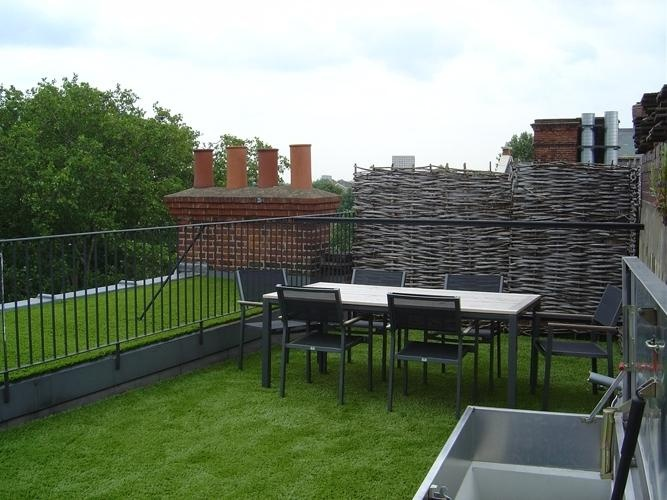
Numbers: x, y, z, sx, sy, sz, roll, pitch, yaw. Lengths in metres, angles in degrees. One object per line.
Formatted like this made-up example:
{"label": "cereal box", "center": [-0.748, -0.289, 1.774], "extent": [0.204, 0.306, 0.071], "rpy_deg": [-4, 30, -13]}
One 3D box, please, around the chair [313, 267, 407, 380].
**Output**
{"label": "chair", "center": [0.369, 0.752, 6.738], "extent": [0.667, 1.020, 0.684], "rpy_deg": [3, 7, 14]}

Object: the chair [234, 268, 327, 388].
{"label": "chair", "center": [-0.529, 0.724, 7.001], "extent": [0.929, 1.467, 0.932], "rpy_deg": [0, 0, -41]}

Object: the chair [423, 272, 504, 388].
{"label": "chair", "center": [1.388, 0.769, 6.449], "extent": [0.565, 1.101, 0.583], "rpy_deg": [1, 0, 25]}

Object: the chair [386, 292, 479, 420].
{"label": "chair", "center": [0.922, 0.852, 5.694], "extent": [0.646, 1.031, 1.087], "rpy_deg": [2, 4, 23]}
